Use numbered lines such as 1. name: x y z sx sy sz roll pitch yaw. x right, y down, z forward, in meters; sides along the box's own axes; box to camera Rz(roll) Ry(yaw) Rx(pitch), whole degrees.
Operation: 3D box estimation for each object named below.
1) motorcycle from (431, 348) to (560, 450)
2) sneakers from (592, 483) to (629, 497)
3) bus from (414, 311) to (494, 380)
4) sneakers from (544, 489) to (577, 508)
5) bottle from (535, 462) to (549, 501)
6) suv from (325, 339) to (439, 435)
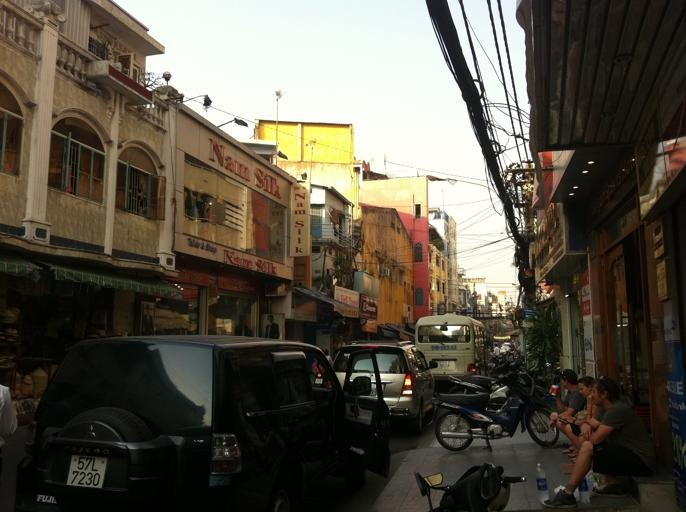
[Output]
1. motorcycle: 2.694 2.736 11.738 2.126 1.508 1.101 -4 -12 1
2. sneakers: 3.374 2.980 8.251 0.445 0.209 0.178 1 -8 10
3. bus: 4.253 3.529 25.490 1.891 2.397 5.671 -2 -7 16
4. sneakers: 2.566 2.933 7.823 0.464 0.264 0.172 2 -14 1
5. bottle: 2.402 2.781 7.913 0.121 0.444 0.234 -5 -12 14
6. suv: 1.195 2.801 14.591 1.383 1.364 2.947 -2 -4 12
